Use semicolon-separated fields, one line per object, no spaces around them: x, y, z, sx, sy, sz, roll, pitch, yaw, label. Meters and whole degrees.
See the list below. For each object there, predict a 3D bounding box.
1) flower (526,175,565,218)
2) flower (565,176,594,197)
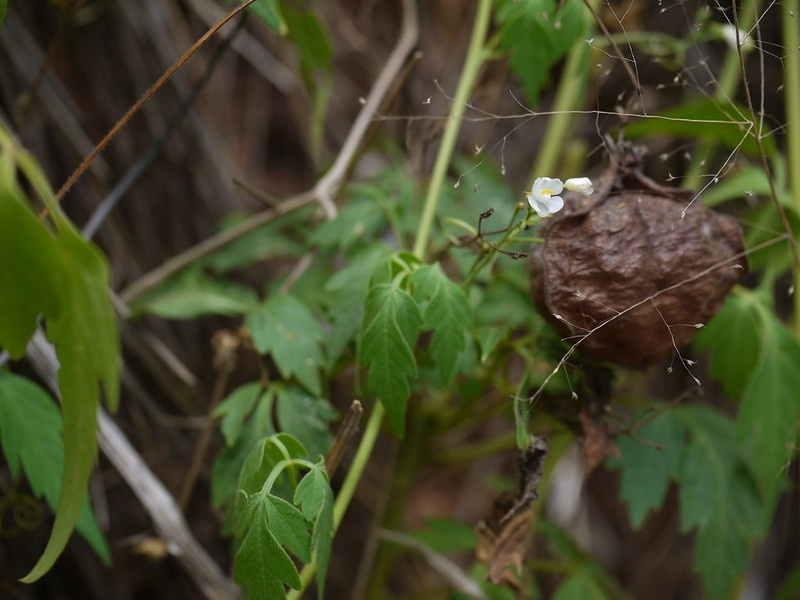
0.219;-0.157;1.219;0.055;0.053;0.036;29;9;-1;flower
0.279;-0.172;1.227;0.041;0.033;0.019;10;-12;-3;flower
